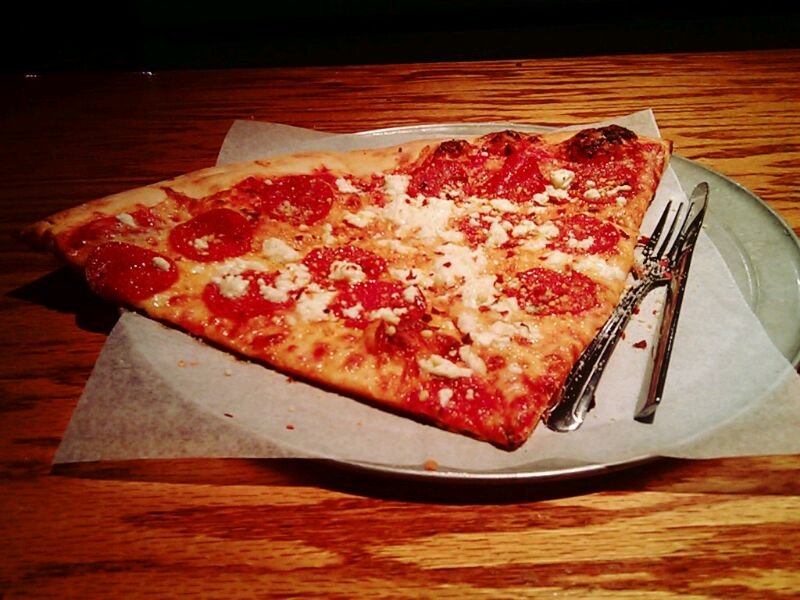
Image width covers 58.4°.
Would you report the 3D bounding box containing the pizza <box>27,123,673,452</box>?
[{"bbox_3d":[0.050,-0.036,1.661,1.159,0.105,0.729,-11,51,43],"label":"pizza"}]
